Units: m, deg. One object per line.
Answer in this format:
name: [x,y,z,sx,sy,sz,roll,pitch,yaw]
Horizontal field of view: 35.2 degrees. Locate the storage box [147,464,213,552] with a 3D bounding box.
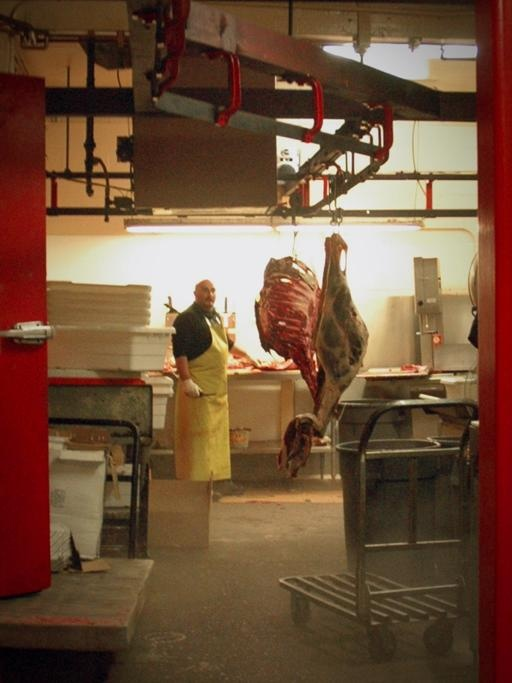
storage box: [-0.449,0.999,4.822,0.434,0.491,0.338,0,-12,-2]

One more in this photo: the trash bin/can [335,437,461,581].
trash bin/can: [0.723,0.797,4.148,0.402,0.462,0.402,-2,-1,40]

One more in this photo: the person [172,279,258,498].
person: [-0.364,0.267,5.594,0.338,1.370,0.537,2,2,30]

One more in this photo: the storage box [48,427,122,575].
storage box: [-0.862,0.755,3.949,0.377,0.557,0.172,1,-12,-12]

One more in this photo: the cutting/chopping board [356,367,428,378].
cutting/chopping board: [1.243,0.273,7.271,0.598,0.097,0.860,2,2,11]

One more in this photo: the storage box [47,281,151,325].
storage box: [-0.838,-0.192,4.308,0.535,0.227,0.144,1,1,-13]

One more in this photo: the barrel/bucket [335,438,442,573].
barrel/bucket: [0.672,0.795,4.002,0.511,0.643,0.589,0,-5,-3]

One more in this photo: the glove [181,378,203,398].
glove: [-0.428,0.318,5.445,0.121,0.124,0.230,2,2,13]

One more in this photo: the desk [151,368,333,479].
desk: [-0.031,0.720,7.417,1.363,0.954,0.933,0,-3,-2]

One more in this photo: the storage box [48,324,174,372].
storage box: [-0.813,0.047,4.479,0.665,0.270,0.279,1,2,-17]
